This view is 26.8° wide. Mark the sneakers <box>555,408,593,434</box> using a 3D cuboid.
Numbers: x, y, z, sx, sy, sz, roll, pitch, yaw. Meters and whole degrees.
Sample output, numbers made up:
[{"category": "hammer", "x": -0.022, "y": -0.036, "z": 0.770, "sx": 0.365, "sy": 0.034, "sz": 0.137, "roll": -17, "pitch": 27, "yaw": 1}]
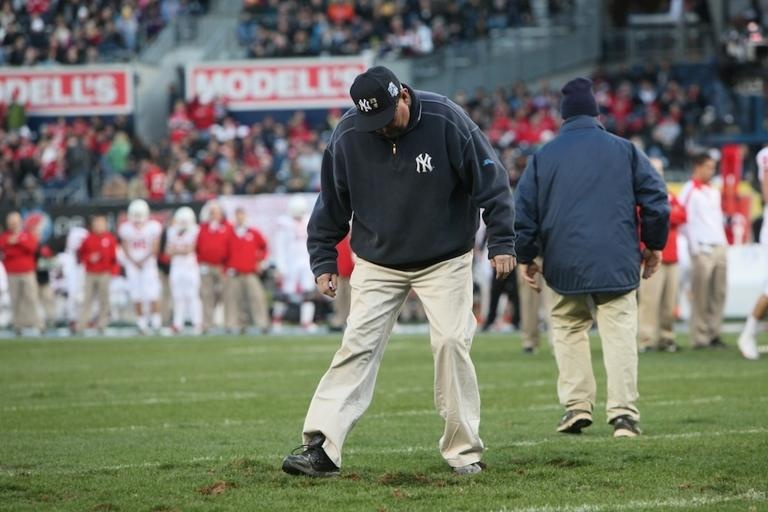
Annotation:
[{"category": "sneakers", "x": 1.704, "y": 1.523, "z": 14.663, "sx": 0.156, "sy": 0.186, "sz": 0.363, "roll": 25, "pitch": -40, "yaw": -33}]

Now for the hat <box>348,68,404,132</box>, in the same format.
[{"category": "hat", "x": -0.099, "y": -1.361, "z": 13.684, "sx": 0.405, "sy": 0.619, "sz": 0.324, "roll": -7, "pitch": -41, "yaw": 26}]

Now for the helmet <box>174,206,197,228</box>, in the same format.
[{"category": "helmet", "x": -1.777, "y": -0.353, "z": 14.407, "sx": 0.131, "sy": 0.151, "sz": 0.183, "roll": 1, "pitch": 0, "yaw": 0}]

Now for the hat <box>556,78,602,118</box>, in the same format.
[{"category": "hat", "x": 1.793, "y": -1.490, "z": 14.953, "sx": 0.338, "sy": 0.420, "sz": 0.463, "roll": -8, "pitch": 12, "yaw": 5}]

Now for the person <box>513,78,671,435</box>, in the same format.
[{"category": "person", "x": 1.949, "y": 0.010, "z": 14.921, "sx": 1.283, "sy": 3.296, "sz": 0.954, "roll": -2, "pitch": 2, "yaw": 13}]

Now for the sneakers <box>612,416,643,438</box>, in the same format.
[{"category": "sneakers", "x": 2.164, "y": 1.519, "z": 14.451, "sx": 0.263, "sy": 0.190, "sz": 0.245, "roll": -2, "pitch": 2, "yaw": 13}]

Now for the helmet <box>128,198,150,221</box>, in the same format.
[{"category": "helmet", "x": -2.153, "y": -0.393, "z": 14.225, "sx": 0.166, "sy": 0.192, "sz": 0.191, "roll": 0, "pitch": -46, "yaw": -7}]

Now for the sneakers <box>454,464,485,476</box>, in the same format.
[{"category": "sneakers", "x": 0.736, "y": 1.823, "z": 13.780, "sx": 0.159, "sy": 0.062, "sz": 0.127, "roll": -3, "pitch": -2, "yaw": -16}]
